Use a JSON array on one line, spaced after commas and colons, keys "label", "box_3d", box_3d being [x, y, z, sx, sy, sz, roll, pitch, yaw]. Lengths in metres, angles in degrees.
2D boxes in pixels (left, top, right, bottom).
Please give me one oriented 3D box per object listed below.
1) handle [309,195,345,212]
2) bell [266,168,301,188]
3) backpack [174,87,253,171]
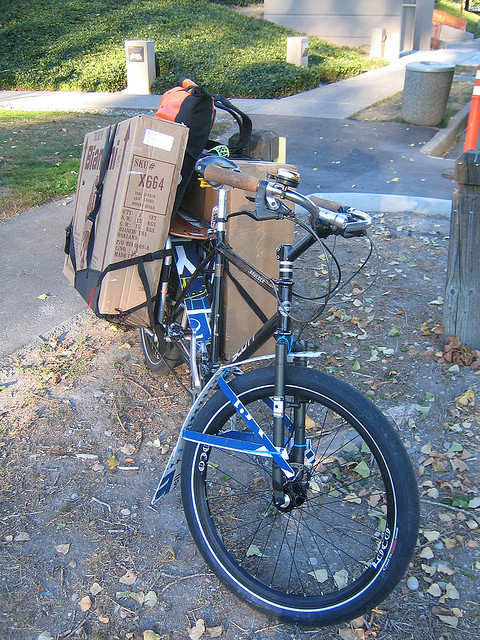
[{"label": "handle", "box_3d": [0.275, -0.364, 1.682, 0.081, 0.027, 0.081, 22, 32, 18]}, {"label": "bell", "box_3d": [0.125, -0.400, 1.566, 0.073, 0.049, 0.103, 19, 3, -15]}, {"label": "backpack", "box_3d": [-0.143, -0.925, 2.687, 0.380, 0.375, 0.292, 16, 23, 4]}]
